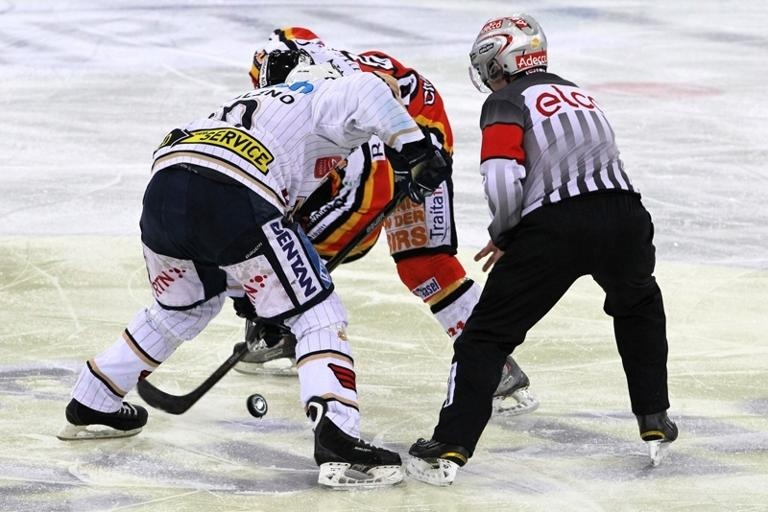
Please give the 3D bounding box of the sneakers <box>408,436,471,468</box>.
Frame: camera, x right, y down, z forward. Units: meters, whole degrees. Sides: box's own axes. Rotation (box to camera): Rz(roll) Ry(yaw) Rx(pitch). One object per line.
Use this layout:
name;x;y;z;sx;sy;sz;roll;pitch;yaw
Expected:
sneakers;0.245;0.890;4.580;0.345;0.086;0.138;6;5;15

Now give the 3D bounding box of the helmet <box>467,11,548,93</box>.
helmet;0.630;-0.988;4.945;0.381;0.319;0.424;-9;10;-31

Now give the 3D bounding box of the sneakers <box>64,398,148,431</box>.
sneakers;-1.359;0.767;4.953;0.491;0.169;0.136;0;35;-25

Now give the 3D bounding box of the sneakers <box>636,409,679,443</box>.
sneakers;1.295;0.815;4.716;0.100;0.099;0.254;-10;3;28
